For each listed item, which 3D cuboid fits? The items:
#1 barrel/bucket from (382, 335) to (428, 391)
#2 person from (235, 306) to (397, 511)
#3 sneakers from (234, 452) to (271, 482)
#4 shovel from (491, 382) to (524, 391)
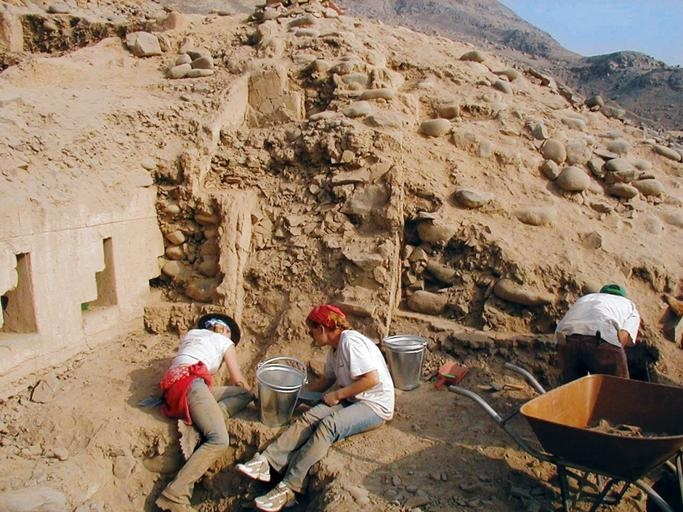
[{"bbox_3d":[0.738,1.148,7.362,0.568,0.511,0.599,-1,11,0],"label":"barrel/bucket"},{"bbox_3d":[-0.131,1.516,6.357,1.030,1.529,1.398,23,31,14],"label":"person"},{"bbox_3d":[-0.844,1.990,6.231,0.388,0.240,0.172,19,-12,-16],"label":"sneakers"},{"bbox_3d":[1.810,1.430,7.196,0.378,0.087,0.108,-3,17,17],"label":"shovel"}]
